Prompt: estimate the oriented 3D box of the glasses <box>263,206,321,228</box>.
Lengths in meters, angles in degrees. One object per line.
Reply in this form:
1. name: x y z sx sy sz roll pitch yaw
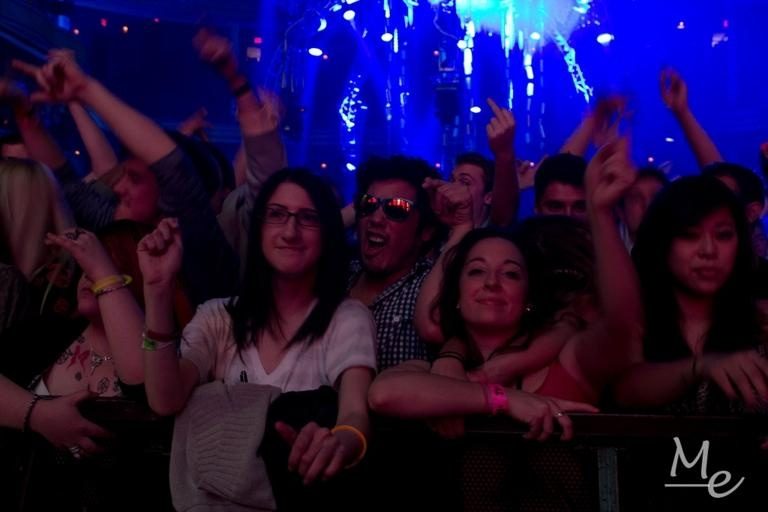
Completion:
1. glasses: -0.580 -0.244 4.100 0.202 0.058 0.194 1 -16 1
